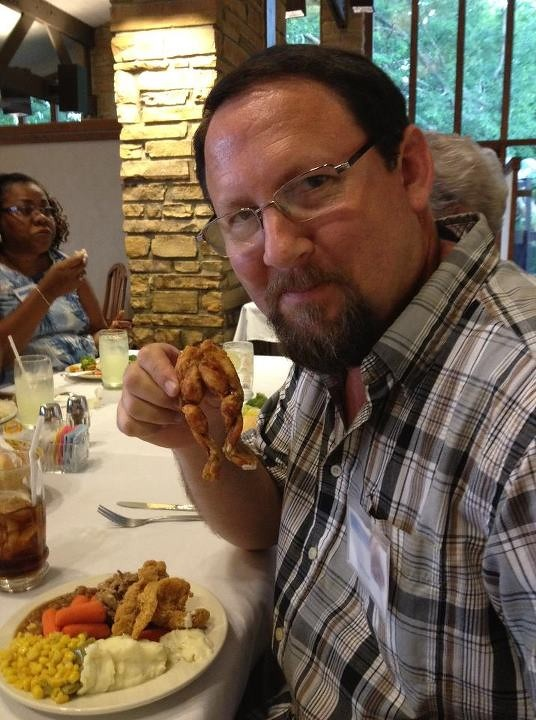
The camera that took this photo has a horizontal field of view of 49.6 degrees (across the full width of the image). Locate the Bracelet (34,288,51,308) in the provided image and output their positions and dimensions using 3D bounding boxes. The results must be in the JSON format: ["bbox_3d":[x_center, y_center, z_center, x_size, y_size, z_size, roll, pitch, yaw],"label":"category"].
[{"bbox_3d":[-0.996,-0.278,2.587,0.018,0.070,0.052,-49,19,-23],"label":"Bracelet"}]

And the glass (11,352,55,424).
[{"bbox_3d":[-0.692,0.096,1.731,0.120,0.186,0.112,-2,8,-2],"label":"glass"}]

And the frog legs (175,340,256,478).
[{"bbox_3d":[-0.068,0.071,0.849,0.115,0.202,0.064,-17,-20,18],"label":"frog legs"}]

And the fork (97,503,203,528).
[{"bbox_3d":[-0.216,0.290,1.073,0.280,0.037,0.033,1,22,-8],"label":"fork"}]

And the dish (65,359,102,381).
[{"bbox_3d":[-0.700,0.048,2.237,0.120,0.016,0.117,-11,18,-40],"label":"dish"}]
